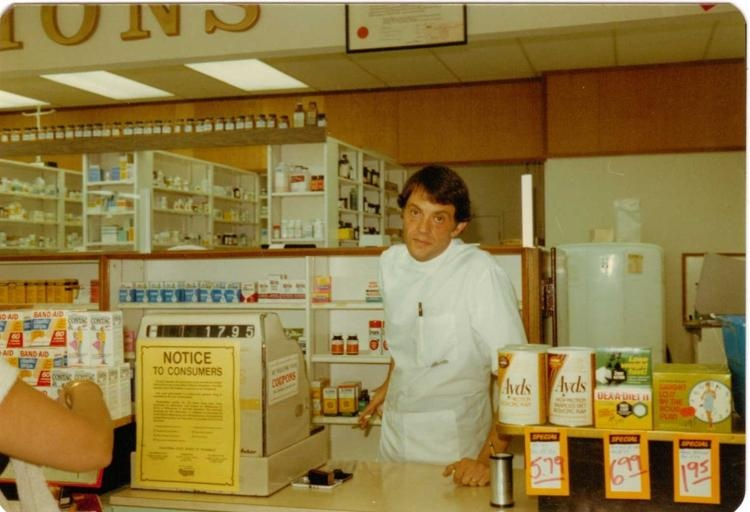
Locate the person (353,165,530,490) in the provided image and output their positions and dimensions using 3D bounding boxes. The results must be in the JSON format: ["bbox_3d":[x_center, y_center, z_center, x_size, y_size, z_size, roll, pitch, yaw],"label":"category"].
[{"bbox_3d":[0.310,0.281,3.294,0.780,1.179,0.430,-1,-1,10],"label":"person"}]

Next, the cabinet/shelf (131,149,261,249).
[{"bbox_3d":[-2.169,-0.649,8.602,0.493,0.757,2.081,-1,-1,25],"label":"cabinet/shelf"}]

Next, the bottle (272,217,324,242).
[{"bbox_3d":[-0.766,-0.264,6.927,0.537,0.175,0.158,-1,-1,19],"label":"bottle"}]

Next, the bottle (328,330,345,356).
[{"bbox_3d":[-0.270,0.639,5.089,0.143,0.178,0.138,1,-1,0],"label":"bottle"}]

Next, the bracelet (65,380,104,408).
[{"bbox_3d":[-1.000,0.469,2.375,0.127,0.072,0.043,-2,11,-11],"label":"bracelet"}]

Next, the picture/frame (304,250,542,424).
[{"bbox_3d":[0.244,0.424,3.700,1.271,0.986,0.476,-2,-11,16],"label":"picture/frame"}]

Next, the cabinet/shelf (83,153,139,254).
[{"bbox_3d":[-2.918,-0.631,7.638,0.799,1.120,0.344,-2,-1,41],"label":"cabinet/shelf"}]

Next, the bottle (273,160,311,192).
[{"bbox_3d":[-0.839,-0.794,6.925,0.381,0.309,0.128,1,4,3],"label":"bottle"}]
